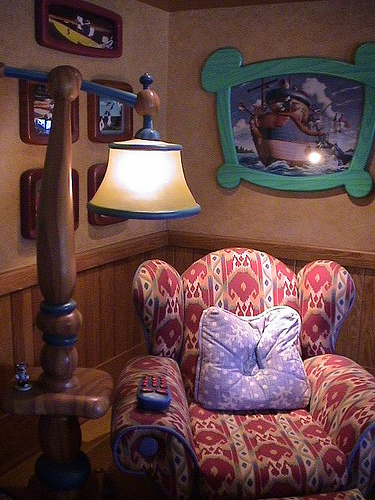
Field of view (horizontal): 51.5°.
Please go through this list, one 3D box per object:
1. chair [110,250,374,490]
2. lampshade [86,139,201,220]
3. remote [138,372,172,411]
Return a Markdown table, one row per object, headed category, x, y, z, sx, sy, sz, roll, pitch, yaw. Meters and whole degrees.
| category | x | y | z | sx | sy | sz | roll | pitch | yaw |
| --- | --- | --- | --- | --- | --- | --- | --- | --- | --- |
| chair | 0.214 | 0.352 | 1.361 | 0.853 | 0.486 | 0.820 | 2 | 18 | -4 |
| lampshade | -0.085 | -0.135 | 0.737 | 0.217 | 0.127 | 0.205 | 3 | 18 | -1 |
| remote | -0.103 | 0.404 | 1.141 | 0.065 | 0.031 | 0.222 | 25 | -9 | -4 |
